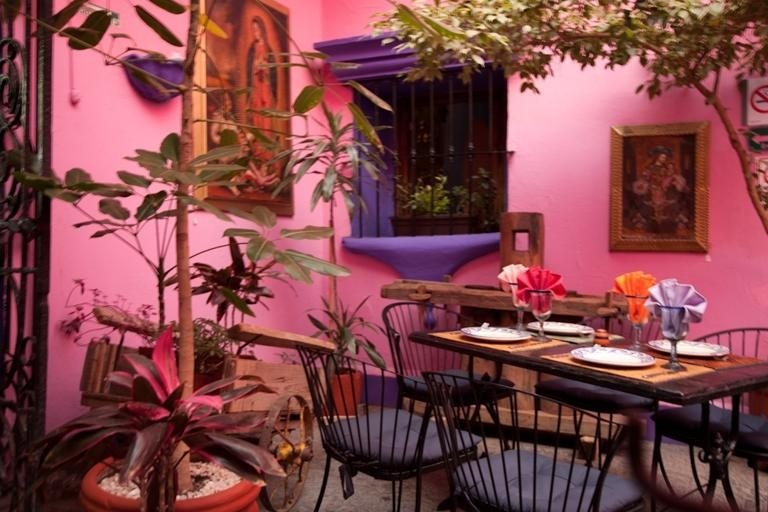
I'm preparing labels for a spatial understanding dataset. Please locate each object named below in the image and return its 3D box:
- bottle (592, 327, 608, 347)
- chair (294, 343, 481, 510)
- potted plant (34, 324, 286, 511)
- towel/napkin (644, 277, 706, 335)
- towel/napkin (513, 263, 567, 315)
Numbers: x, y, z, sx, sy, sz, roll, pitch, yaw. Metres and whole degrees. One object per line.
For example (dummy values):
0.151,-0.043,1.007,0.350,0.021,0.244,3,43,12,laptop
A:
1.281,0.478,3.875,0.109,0.105,0.109,5,-8,-45,bottle
0.006,1.021,3.831,0.860,1.102,0.940,-5,9,-36,chair
-0.957,0.704,2.870,0.923,0.693,0.878,14,-10,-33,potted plant
1.478,0.267,3.314,0.266,0.312,0.146,-1,-1,19,towel/napkin
0.917,0.187,3.796,0.292,0.270,0.295,-1,-5,16,towel/napkin
